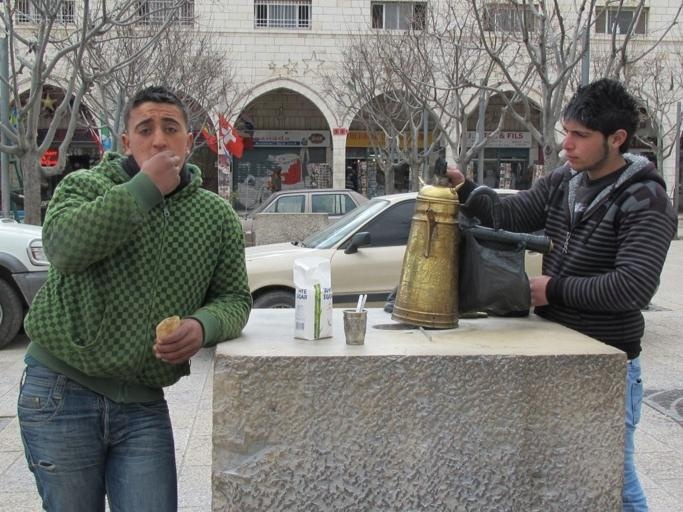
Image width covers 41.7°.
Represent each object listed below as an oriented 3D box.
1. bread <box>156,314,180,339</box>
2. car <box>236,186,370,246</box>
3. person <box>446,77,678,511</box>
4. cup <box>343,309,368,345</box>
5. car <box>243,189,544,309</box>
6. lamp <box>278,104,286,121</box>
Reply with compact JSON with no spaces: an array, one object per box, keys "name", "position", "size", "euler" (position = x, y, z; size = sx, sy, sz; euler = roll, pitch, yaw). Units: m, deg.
[{"name":"bread","position":[-0.878,0.346,4.488],"size":[0.126,0.119,0.110],"euler":[4,5,-9]},{"name":"car","position":[-0.676,-0.808,16.238],"size":[1.888,0.994,1.130],"euler":[0,3,-5]},{"name":"person","position":[1.330,0.187,5.099],"size":[1.018,2.340,0.472],"euler":[8,6,38]},{"name":"cup","position":[0.062,0.366,4.689],"size":[0.132,0.183,0.150],"euler":[0,2,-1]},{"name":"car","position":[0.322,-0.013,9.621],"size":[2.632,1.213,1.393],"euler":[2,-1,-1]},{"name":"lamp","position":[-2.321,-5.420,34.085],"size":[0.271,0.565,0.111],"euler":[3,5,-9]}]
